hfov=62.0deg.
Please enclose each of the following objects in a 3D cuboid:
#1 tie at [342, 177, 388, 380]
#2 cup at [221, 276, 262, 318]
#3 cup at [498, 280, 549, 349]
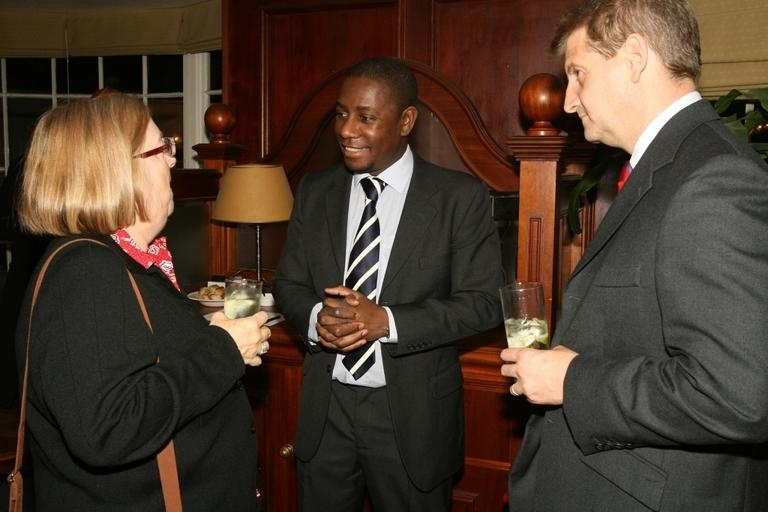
[{"bbox_3d":[-0.032,0.075,2.308,0.129,0.650,0.111,2,-8,30],"label":"tie"},{"bbox_3d":[-0.431,0.127,1.926,0.112,0.124,0.114,1,-1,0],"label":"cup"},{"bbox_3d":[0.397,0.186,1.847,0.130,0.218,0.132,-5,9,1],"label":"cup"}]
